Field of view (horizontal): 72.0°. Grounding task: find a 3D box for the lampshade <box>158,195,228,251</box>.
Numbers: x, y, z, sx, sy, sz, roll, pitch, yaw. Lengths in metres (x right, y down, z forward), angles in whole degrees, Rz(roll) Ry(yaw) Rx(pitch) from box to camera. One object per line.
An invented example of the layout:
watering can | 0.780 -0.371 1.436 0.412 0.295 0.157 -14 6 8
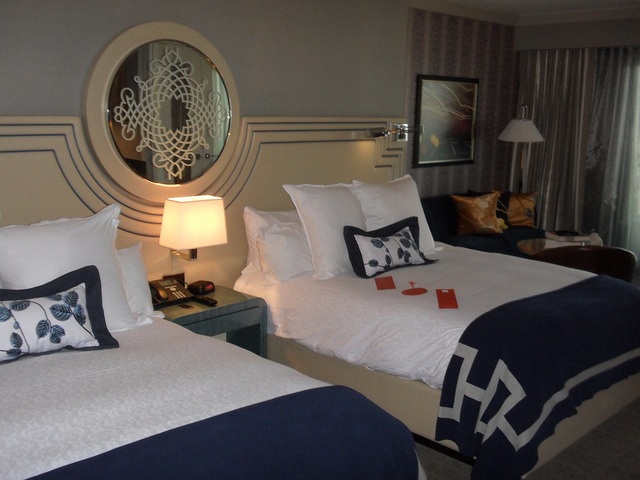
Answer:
lampshade | -0.852 -0.121 2.998 0.276 0.405 0.358 12 13 41

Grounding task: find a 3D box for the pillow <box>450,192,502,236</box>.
pillow | 1.789 -0.289 5.033 0.534 0.534 0.227 -6 3 15

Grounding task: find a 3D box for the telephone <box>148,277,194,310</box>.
telephone | -1.045 0.349 2.976 0.273 0.113 0.278 20 15 37

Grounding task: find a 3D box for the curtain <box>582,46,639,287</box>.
curtain | 3.671 -0.808 5.779 0.215 3.122 1.134 5 11 28

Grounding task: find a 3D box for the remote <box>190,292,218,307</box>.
remote | -0.778 0.399 2.937 0.209 0.056 0.064 14 30 40
